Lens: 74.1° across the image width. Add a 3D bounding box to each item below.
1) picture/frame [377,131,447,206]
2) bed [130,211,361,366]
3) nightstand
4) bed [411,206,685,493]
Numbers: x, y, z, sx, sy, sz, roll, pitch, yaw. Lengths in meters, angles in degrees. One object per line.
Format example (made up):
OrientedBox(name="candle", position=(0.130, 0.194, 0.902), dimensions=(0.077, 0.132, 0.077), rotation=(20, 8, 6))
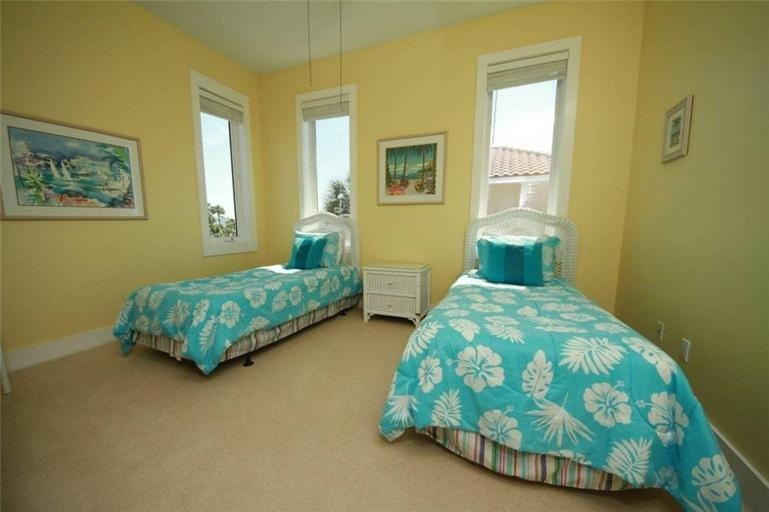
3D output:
OrientedBox(name="picture/frame", position=(0.318, -1.013, 5.746), dimensions=(0.847, 0.732, 0.032), rotation=(2, 4, 23))
OrientedBox(name="bed", position=(-1.333, 0.251, 5.339), dimensions=(1.234, 1.135, 1.955), rotation=(0, 2, 35))
OrientedBox(name="nightstand", position=(0.138, 0.419, 5.801), dimensions=(0.688, 0.624, 0.498), rotation=(3, 9, 19))
OrientedBox(name="bed", position=(1.163, 0.615, 4.634), dimensions=(1.546, 2.041, 1.992), rotation=(2, 9, 7))
